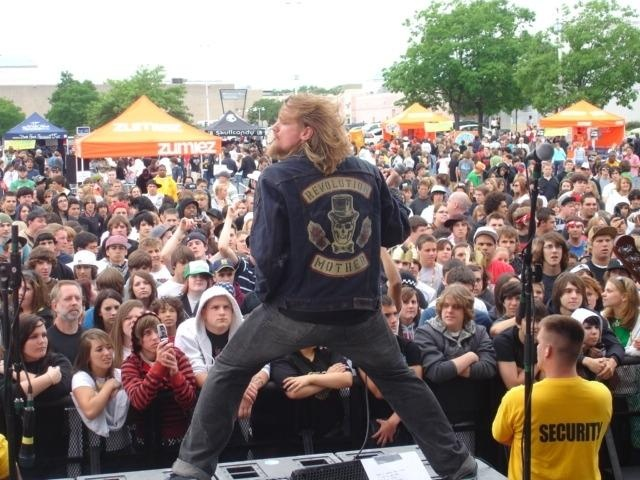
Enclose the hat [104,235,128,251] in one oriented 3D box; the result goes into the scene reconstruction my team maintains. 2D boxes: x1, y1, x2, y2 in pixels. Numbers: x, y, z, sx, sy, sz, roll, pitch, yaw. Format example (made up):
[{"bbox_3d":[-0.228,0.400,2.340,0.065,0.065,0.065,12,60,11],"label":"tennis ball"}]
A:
[{"bbox_3d":[-2.506,0.015,10.037,0.207,0.110,0.191,-1,-10,-17],"label":"hat"}]
